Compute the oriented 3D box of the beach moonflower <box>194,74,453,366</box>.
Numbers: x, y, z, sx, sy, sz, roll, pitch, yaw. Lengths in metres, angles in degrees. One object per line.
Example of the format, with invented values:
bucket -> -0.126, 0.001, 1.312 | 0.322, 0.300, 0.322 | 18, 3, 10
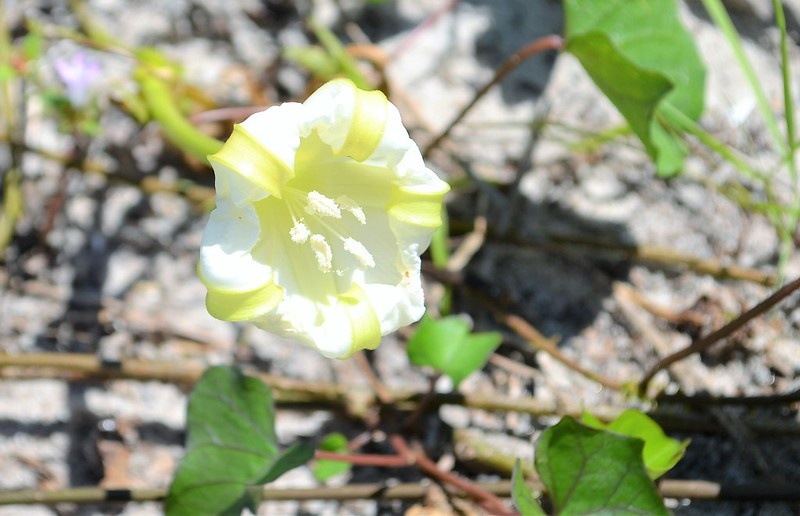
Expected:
beach moonflower -> -0.320, -0.125, 2.728 | 0.842, 0.351, 0.840 | -9, 67, -22
